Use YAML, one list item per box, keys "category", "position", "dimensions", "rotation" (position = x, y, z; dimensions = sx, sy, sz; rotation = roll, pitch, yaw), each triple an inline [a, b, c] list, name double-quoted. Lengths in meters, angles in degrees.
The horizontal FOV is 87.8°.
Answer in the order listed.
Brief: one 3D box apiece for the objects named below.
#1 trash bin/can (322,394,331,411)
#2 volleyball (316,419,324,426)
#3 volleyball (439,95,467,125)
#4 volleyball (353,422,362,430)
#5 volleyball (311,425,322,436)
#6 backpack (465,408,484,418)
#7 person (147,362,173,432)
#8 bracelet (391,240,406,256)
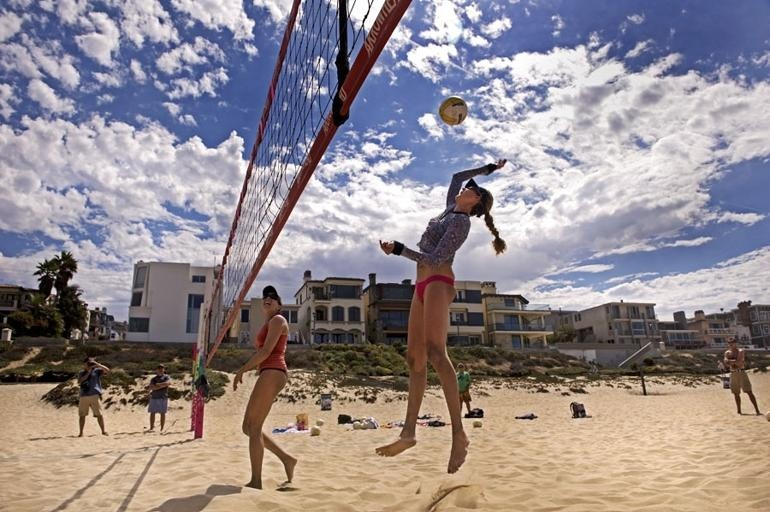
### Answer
- category: "trash bin/can"
  position: [-2.262, 5.786, 15.534]
  dimensions: [0.481, 0.661, 0.471]
  rotation: [-1, -11, 2]
- category: "volleyball"
  position: [-1.802, 4.682, 11.093]
  dimensions: [0.231, 0.182, 0.239]
  rotation: [-2, -14, 11]
- category: "volleyball"
  position: [0.854, -1.651, 4.597]
  dimensions: [0.299, 0.433, 0.284]
  rotation: [-2, -14, 2]
- category: "volleyball"
  position: [-0.697, 4.586, 10.634]
  dimensions: [0.145, 0.142, 0.151]
  rotation: [-4, -15, 5]
- category: "volleyball"
  position: [-1.735, 4.383, 9.842]
  dimensions: [0.251, 0.245, 0.248]
  rotation: [-22, -30, 0]
- category: "backpack"
  position: [2.983, 4.985, 12.505]
  dimensions: [0.416, 0.198, 0.552]
  rotation: [1, -8, 14]
- category: "person"
  position: [-6.669, 4.121, 11.476]
  dimensions: [0.508, 1.801, 1.493]
  rotation: [7, -16, -29]
- category: "bracelet"
  position: [0.156, -0.075, 3.859]
  dimensions: [0.116, 0.126, 0.203]
  rotation: [-1, -15, 1]
